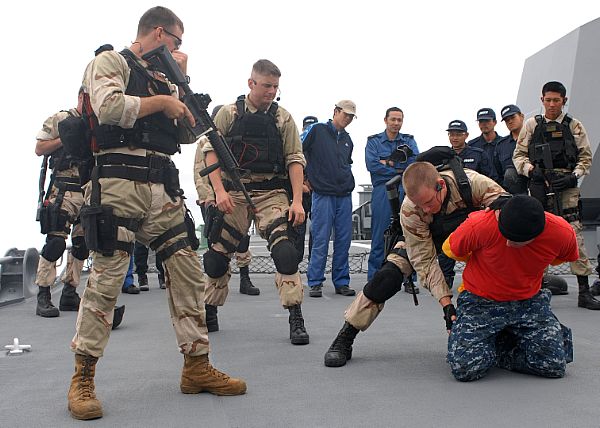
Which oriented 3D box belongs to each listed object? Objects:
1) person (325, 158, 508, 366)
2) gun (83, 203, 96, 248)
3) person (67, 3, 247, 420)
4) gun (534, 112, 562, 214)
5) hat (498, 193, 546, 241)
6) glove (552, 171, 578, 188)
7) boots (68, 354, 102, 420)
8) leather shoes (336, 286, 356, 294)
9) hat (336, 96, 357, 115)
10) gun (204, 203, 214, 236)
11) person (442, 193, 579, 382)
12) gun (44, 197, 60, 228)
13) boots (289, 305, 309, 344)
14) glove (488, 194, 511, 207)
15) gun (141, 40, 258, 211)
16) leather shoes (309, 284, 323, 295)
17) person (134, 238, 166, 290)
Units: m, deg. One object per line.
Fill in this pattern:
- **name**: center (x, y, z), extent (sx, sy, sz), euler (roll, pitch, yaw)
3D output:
- **person**: center (0.960, 0.409, 4.444), extent (1.791, 1.498, 1.042), euler (-3, 2, 5)
- **gun**: center (-1.229, 0.069, 3.084), extent (0.052, 0.261, 0.134), euler (-7, 7, -42)
- **person**: center (-0.965, -0.089, 3.208), extent (0.981, 2.391, 0.605), euler (-4, 6, -25)
- **gun**: center (2.601, -0.511, 5.713), extent (0.165, 0.973, 0.361), euler (-1, -7, -3)
- **hat**: center (1.390, 0.018, 3.380), extent (0.292, 0.227, 0.288), euler (6, 46, 3)
- **glove**: center (2.856, -0.361, 5.630), extent (0.225, 0.114, 0.171), euler (-11, 2, -27)
- **boots**: center (-1.218, 0.952, 2.962), extent (0.170, 0.321, 0.225), euler (-4, 6, -25)
- **leather shoes**: center (0.607, 0.961, 6.788), extent (0.095, 0.107, 0.265), euler (2, -9, -31)
- **hat**: center (0.651, -1.370, 6.706), extent (0.210, 0.218, 0.383), euler (-4, 5, -24)
- **gun**: center (-0.817, 0.036, 4.662), extent (0.102, 0.236, 0.150), euler (4, -3, -25)
- **person**: center (1.418, 0.457, 3.506), extent (0.874, 1.201, 0.562), euler (-1, 5, 13)
- **gun**: center (-2.635, 0.020, 5.609), extent (0.147, 0.294, 0.047), euler (-1, 5, 12)
- **boots**: center (-0.002, 0.899, 4.395), extent (0.163, 0.286, 0.330), euler (-2, 5, -2)
- **glove**: center (1.332, -0.101, 3.460), extent (0.098, 0.029, 0.097), euler (-42, 21, -18)
- **gun**: center (-0.707, -0.557, 3.668), extent (0.399, 1.300, 0.180), euler (-25, 8, 18)
- **leather shoes**: center (0.213, 0.963, 6.703), extent (0.174, 0.120, 0.249), euler (-2, 5, 0)
- **person**: center (-2.172, 0.685, 7.749), extent (0.480, 0.901, 0.257), euler (-4, 37, -21)
